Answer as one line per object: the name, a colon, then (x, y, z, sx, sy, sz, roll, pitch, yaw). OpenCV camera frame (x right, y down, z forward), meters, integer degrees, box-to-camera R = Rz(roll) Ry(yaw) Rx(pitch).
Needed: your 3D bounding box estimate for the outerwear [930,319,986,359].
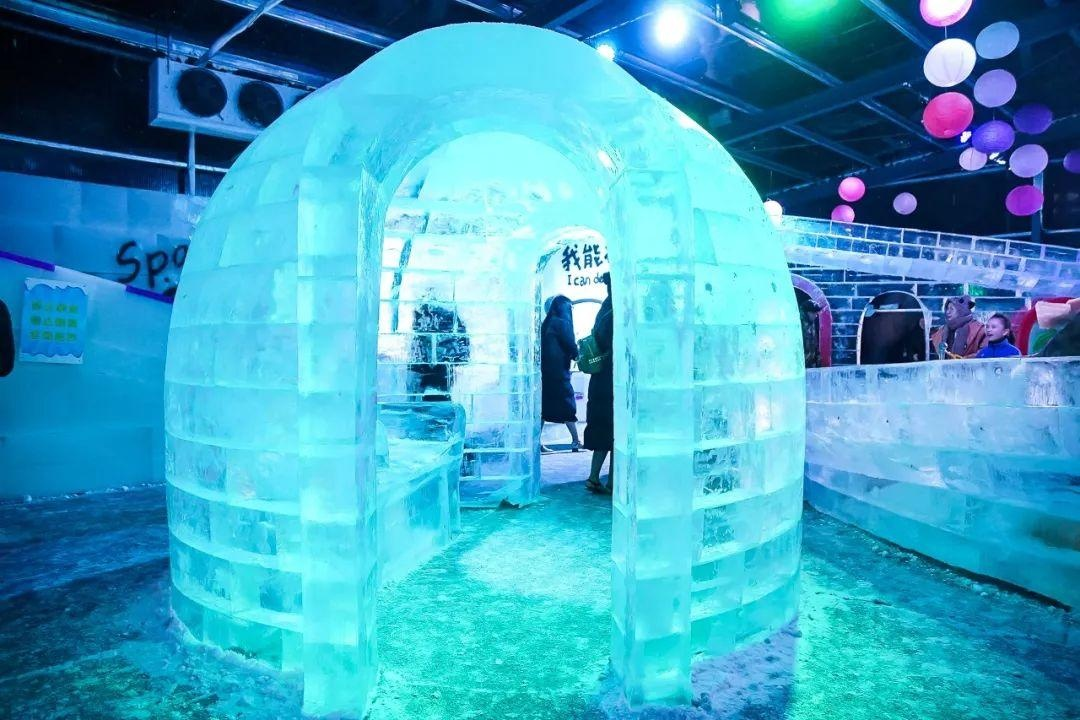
outerwear: (5.550, -0.271, 9.186, 0.319, 0.536, 0.571, 7, -1, -10)

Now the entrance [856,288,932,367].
entrance: (5.285, -0.540, 10.311, 0.989, 1.438, 0.529, 4, 11, 33)

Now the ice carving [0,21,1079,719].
ice carving: (-0.262, 0.037, 6.592, 4.182, 3.489, 5.659, 0, -1, -2)
